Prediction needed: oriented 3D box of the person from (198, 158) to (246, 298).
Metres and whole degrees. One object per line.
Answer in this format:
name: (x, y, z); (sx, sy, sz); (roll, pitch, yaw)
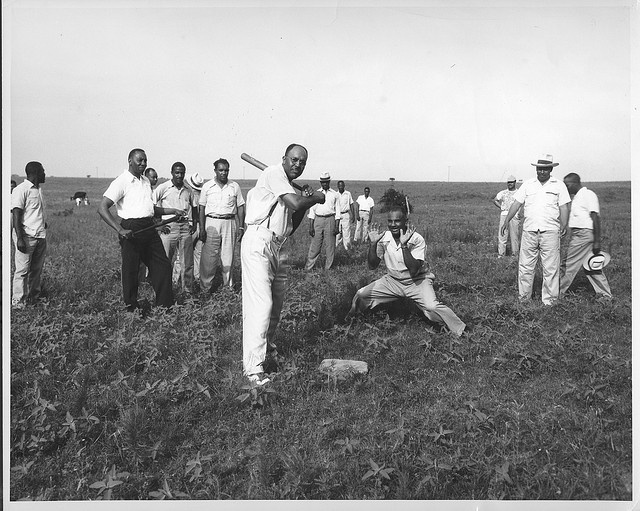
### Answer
person: (-1.897, -0.620, 10.755); (0.973, 2.361, 0.895); (-5, 8, -23)

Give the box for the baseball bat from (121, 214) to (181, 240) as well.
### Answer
baseball bat: (-2.793, -0.473, 9.214); (0.713, 0.130, 0.113); (-24, -20, -14)

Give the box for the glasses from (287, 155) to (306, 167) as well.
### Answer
glasses: (-0.293, -1.185, 7.189); (0.210, 0.107, 0.091); (-4, 8, -8)

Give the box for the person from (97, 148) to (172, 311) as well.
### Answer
person: (-2.916, -0.343, 9.079); (1.014, 2.652, 0.622); (-11, 21, -37)

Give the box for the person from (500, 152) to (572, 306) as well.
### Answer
person: (3.834, -0.485, 9.860); (0.877, 2.469, 0.772); (1, 8, 25)

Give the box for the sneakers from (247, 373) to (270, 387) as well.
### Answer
sneakers: (-0.756, 1.541, 6.951); (0.286, 0.122, 0.280); (-4, 9, -8)

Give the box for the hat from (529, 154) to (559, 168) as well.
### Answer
hat: (3.875, -1.612, 9.758); (0.304, 0.223, 0.820); (1, 10, 23)
